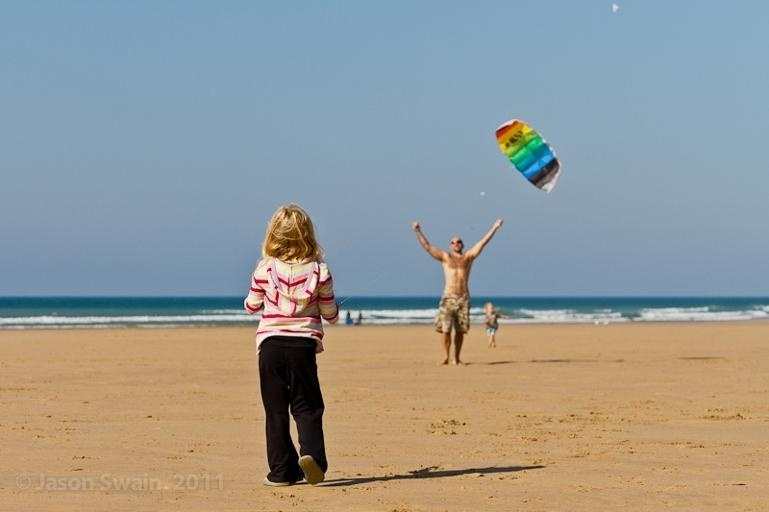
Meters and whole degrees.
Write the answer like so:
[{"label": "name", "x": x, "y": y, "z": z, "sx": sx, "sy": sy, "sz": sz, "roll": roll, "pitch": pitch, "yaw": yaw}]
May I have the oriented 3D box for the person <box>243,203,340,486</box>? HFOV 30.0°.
[{"label": "person", "x": -1.170, "y": 1.027, "z": 17.714, "sx": 1.065, "sy": 3.531, "sz": 1.156, "roll": -2, "pitch": 14, "yaw": -8}]
